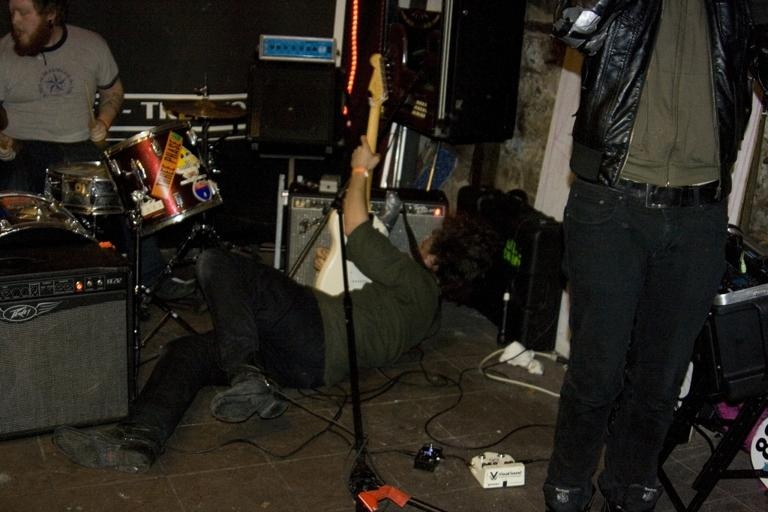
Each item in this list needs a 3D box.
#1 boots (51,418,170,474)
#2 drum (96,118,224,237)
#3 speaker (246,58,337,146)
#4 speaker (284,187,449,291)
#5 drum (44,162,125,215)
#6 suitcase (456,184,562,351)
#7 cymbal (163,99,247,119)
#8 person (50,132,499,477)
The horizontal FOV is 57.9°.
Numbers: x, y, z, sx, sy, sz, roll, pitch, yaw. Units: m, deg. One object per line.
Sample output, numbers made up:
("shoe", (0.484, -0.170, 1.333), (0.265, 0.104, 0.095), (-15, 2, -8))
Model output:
("boots", (-1.288, 0.859, 3.301), (0.520, 0.193, 0.216), (11, 15, -6))
("drum", (-1.421, -0.513, 4.571), (0.686, 0.584, 0.659), (-26, 12, -20))
("speaker", (-0.704, -1.060, 5.317), (0.632, 0.567, 0.617), (0, 61, -7))
("speaker", (-0.147, -0.101, 4.364), (0.689, 0.711, 0.280), (3, 7, -5))
("drum", (-1.927, -0.420, 4.551), (0.510, 0.210, 0.481), (9, 8, -1))
("suitcase", (0.836, 0.021, 5.014), (0.368, 0.889, 1.090), (-2, 19, -26))
("cymbal", (-1.232, -1.036, 4.908), (0.333, 0.076, 0.330), (8, 17, 15))
("person", (-0.521, 0.305, 3.975), (2.586, 1.385, 0.989), (-6, -5, -25))
